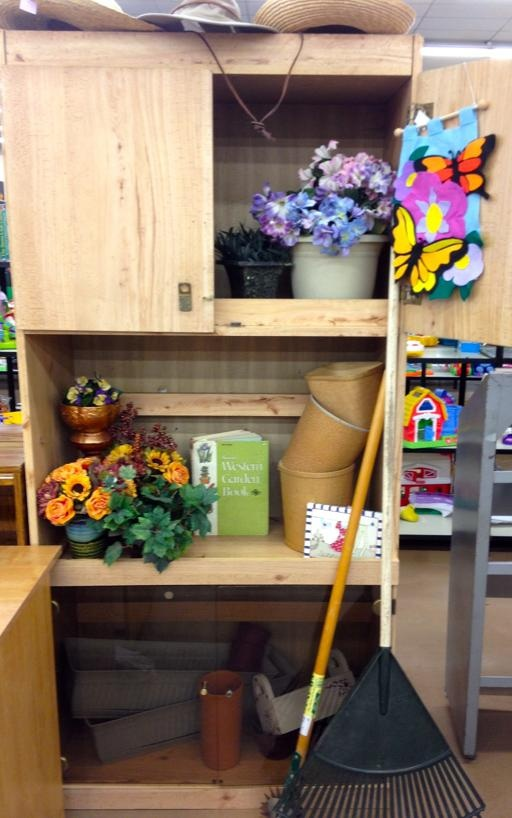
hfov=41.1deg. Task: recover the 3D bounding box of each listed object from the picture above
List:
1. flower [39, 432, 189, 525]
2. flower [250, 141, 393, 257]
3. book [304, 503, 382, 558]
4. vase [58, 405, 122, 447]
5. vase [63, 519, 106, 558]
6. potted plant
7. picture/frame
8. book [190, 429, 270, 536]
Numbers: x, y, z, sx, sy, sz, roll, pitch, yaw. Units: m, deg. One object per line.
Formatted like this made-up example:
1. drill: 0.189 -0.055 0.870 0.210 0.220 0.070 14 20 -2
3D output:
1. flower: -0.363 0.170 1.853 0.293 0.190 0.497 -2 3 -22
2. flower: 0.176 -0.483 1.521 0.269 0.307 0.186 -4 7 -3
3. book: 0.218 0.308 1.733 0.139 0.140 0.014 3 7 0
4. vase: -0.425 0.031 1.768 0.128 0.108 0.122 -2 0 -37
5. vase: -0.426 0.319 1.695 0.100 0.084 0.109 0 1 0
6. potted plant: 0.023 -0.358 1.737 0.111 0.121 0.122 -12 7 3
7. picture/frame: 0.219 0.311 1.733 0.142 0.141 0.015 3 7 0
8. book: -0.053 0.203 1.993 0.242 0.334 0.256 -1 8 -2
